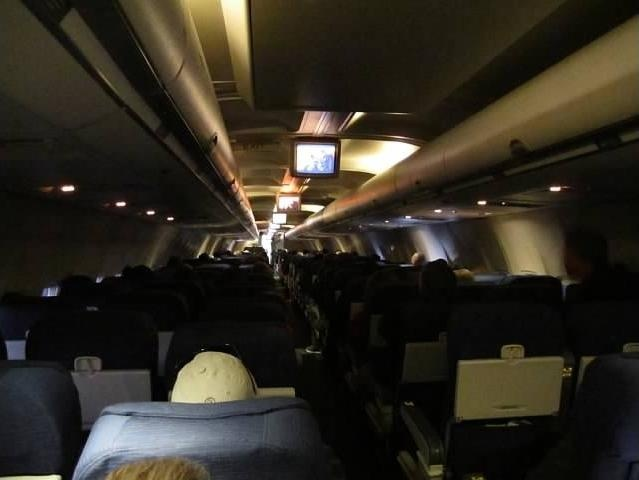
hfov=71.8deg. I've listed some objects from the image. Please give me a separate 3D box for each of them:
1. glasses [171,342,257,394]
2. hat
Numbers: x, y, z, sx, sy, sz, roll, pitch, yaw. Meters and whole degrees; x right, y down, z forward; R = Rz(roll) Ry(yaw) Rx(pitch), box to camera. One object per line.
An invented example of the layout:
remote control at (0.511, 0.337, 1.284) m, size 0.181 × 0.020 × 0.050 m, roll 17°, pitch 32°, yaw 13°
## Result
glasses at (-0.422, 0.559, 1.816) m, size 0.192 × 0.251 × 0.219 m, roll 0°, pitch -42°, yaw 17°
hat at (-0.424, 0.548, 1.785) m, size 0.203 × 0.236 × 0.258 m, roll -2°, pitch -2°, yaw 16°
